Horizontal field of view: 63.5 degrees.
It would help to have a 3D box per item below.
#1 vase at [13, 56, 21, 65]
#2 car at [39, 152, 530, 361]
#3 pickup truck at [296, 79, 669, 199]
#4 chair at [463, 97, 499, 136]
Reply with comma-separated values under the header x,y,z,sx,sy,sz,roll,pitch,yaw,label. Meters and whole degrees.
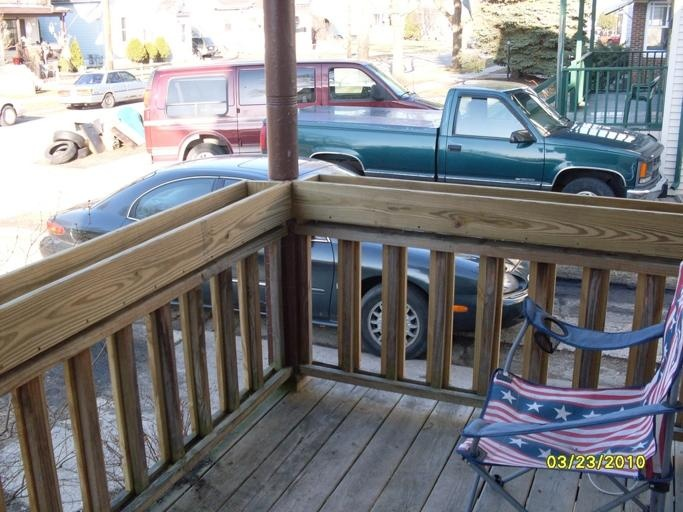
x,y,z,sx,sy,sz,roll,pitch,yaw,label
-22.854,-13.727,38.730,0.406,0.471,1.066,-4,22,-9,vase
-0.655,-0.100,5.537,4.697,1.526,2.004,5,16,16,car
2.114,-1.810,8.878,5.225,1.750,2.388,4,24,12,pickup truck
2.046,-2.074,8.227,0.498,0.504,0.275,4,22,13,chair
